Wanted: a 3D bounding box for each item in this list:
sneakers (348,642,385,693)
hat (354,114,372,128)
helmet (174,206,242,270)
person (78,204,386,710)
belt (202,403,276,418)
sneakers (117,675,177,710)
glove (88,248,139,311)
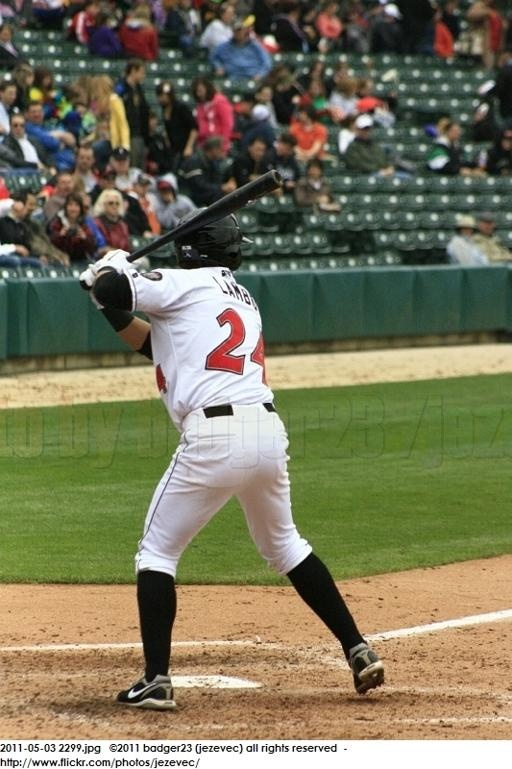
[{"bbox_3d":[0.324,0.824,3.410,0.096,0.114,0.257,-26,-24,-5],"label":"sneakers"},{"bbox_3d":[1.245,-3.042,13.466,0.233,0.164,0.165,-23,30,-31],"label":"hat"},{"bbox_3d":[-0.143,-0.452,3.548,0.234,0.173,0.164,1,3,-30],"label":"helmet"},{"bbox_3d":[-0.064,0.203,3.458,0.835,1.420,0.644,-1,6,-8],"label":"person"},{"bbox_3d":[-0.035,0.069,3.324,0.267,0.035,0.050,-4,6,-43],"label":"belt"},{"bbox_3d":[-0.289,0.847,3.188,0.197,0.076,0.067,-4,-14,28],"label":"sneakers"},{"bbox_3d":[-0.431,-0.291,3.286,0.188,0.167,0.055,-4,-31,33],"label":"glove"}]
